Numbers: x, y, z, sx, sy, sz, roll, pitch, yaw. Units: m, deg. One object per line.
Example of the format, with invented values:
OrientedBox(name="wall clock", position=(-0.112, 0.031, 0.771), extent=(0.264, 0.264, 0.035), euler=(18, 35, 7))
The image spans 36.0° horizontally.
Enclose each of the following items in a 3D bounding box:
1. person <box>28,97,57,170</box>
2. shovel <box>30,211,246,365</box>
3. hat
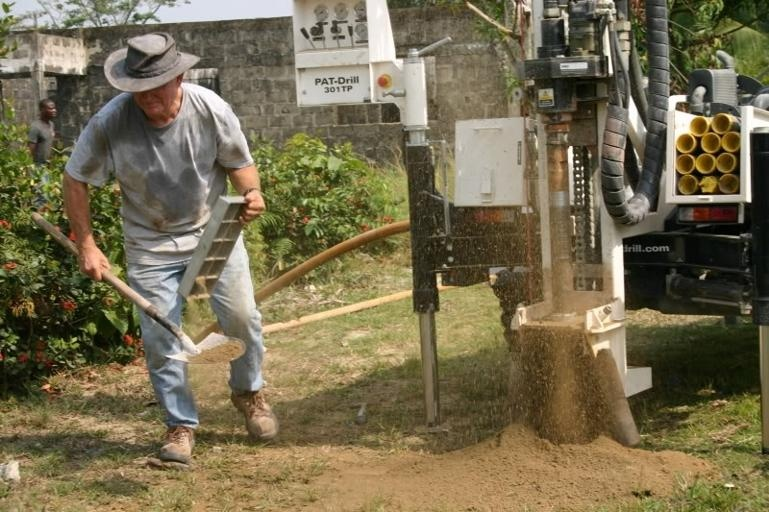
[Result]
OrientedBox(name="person", position=(-4.461, -1.622, 15.377), extent=(0.386, 0.796, 1.267), euler=(-9, 10, -15))
OrientedBox(name="shovel", position=(-2.125, 0.334, 9.223), extent=(2.158, 0.209, 0.718), euler=(28, 14, 23))
OrientedBox(name="hat", position=(-1.756, -1.457, 8.900), extent=(0.688, 0.437, 0.500), euler=(-6, 9, -8))
